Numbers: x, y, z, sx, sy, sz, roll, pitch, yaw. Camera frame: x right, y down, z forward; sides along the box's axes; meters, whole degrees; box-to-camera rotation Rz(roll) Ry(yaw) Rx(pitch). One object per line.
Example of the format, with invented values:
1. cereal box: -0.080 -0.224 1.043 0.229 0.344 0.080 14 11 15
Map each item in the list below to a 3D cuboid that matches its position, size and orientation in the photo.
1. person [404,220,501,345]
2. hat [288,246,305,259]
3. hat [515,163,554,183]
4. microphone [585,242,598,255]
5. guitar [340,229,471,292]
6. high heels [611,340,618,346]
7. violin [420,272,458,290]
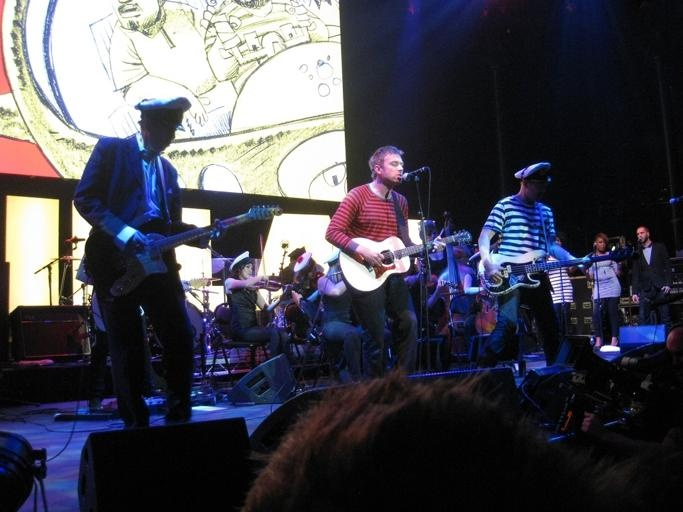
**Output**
1. person: 1.422 0.411 7.622 0.771 1.782 0.455 -4 -4 0
2. hat: -0.705 -0.042 9.533 0.253 0.061 0.182 -38 -37 1
3. hat: 1.660 -0.733 5.467 0.403 0.178 0.388 3 10 45
4. microphone: 4.729 -0.140 11.654 0.266 0.193 0.119 5 -9 -41
5. guitar: 0.465 0.010 4.839 0.917 0.382 0.101 -16 -6 -32
6. high heels: 4.176 1.331 9.432 0.080 0.084 0.084 4 7 36
7. violin: 1.111 0.296 6.935 0.421 0.121 0.207 9 -5 -21
